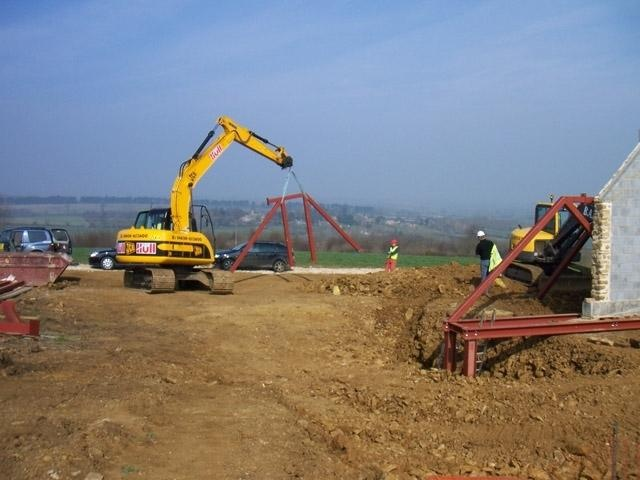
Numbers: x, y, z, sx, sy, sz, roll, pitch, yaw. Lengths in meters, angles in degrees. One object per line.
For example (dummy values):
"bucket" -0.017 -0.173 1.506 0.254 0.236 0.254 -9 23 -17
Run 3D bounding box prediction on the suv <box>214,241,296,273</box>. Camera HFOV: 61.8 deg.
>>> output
"suv" -3.263 0.915 27.515 3.440 1.370 1.648 3 -2 -8

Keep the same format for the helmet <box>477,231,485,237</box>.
"helmet" 4.834 -0.179 16.092 0.261 0.150 0.338 -2 -1 -7

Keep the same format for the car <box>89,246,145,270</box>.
"car" -11.127 0.811 28.183 2.497 1.236 1.328 4 -2 -6

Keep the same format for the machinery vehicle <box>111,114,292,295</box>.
"machinery vehicle" -4.147 -1.290 20.206 6.374 6.118 3.430 0 3 -39
